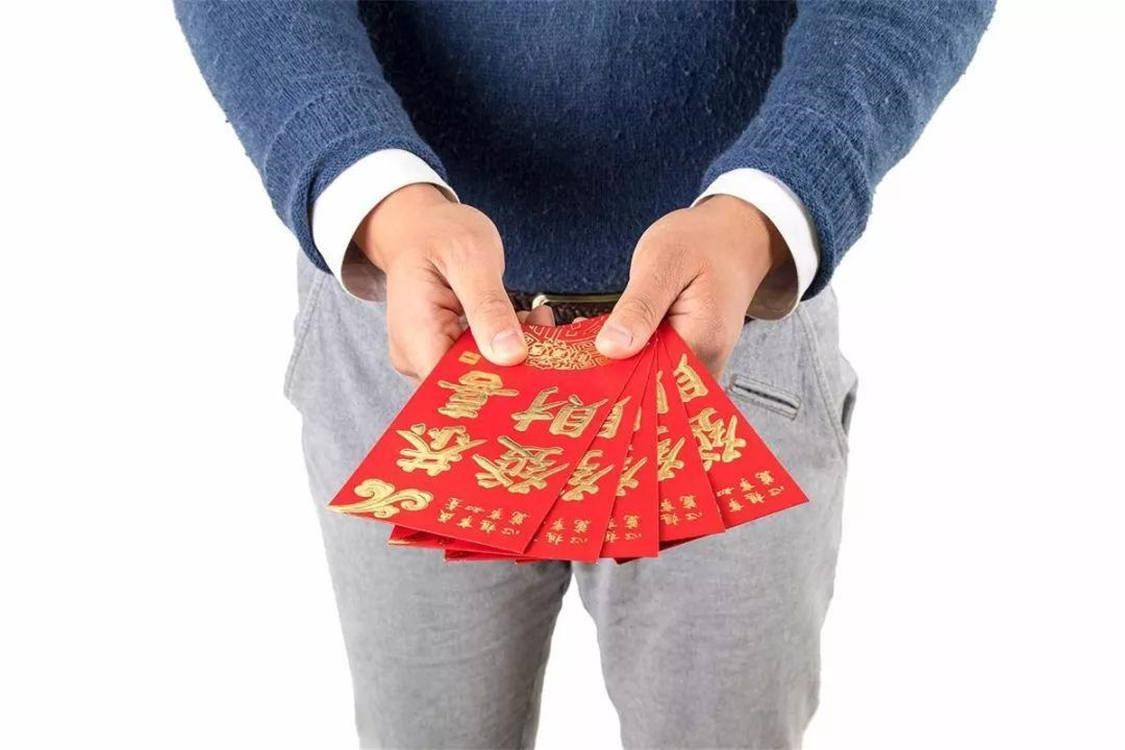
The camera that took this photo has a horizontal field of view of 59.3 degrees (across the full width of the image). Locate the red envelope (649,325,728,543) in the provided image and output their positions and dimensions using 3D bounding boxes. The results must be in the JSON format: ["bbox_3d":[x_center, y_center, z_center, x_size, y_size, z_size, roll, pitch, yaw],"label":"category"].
[{"bbox_3d":[0.146,0.085,1.200,0.075,0.236,0.063,-4,-17,4],"label":"red envelope"}]

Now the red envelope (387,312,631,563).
[{"bbox_3d":[0.002,0.073,1.236,0.295,0.328,0.082,2,-27,8],"label":"red envelope"}]

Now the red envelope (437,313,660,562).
[{"bbox_3d":[-0.019,0.083,1.219,0.219,0.270,0.032,0,-34,7],"label":"red envelope"}]
